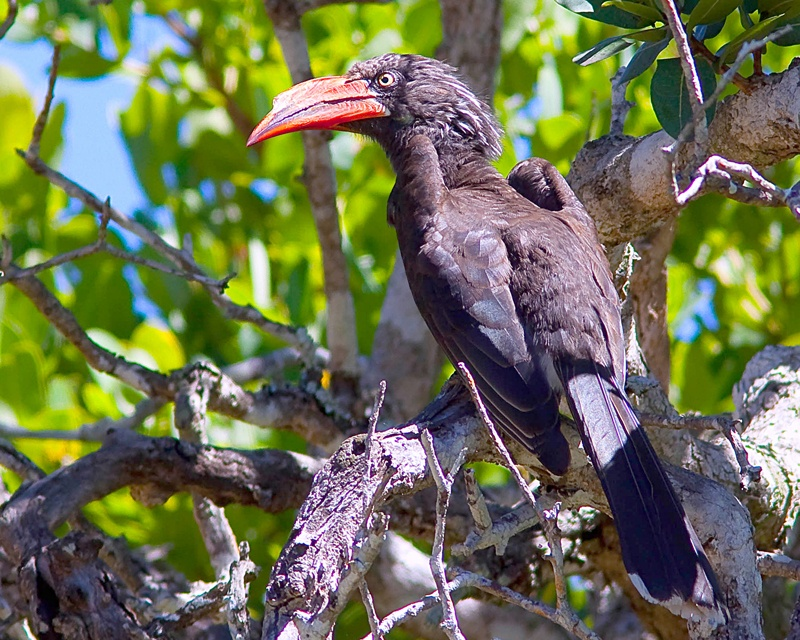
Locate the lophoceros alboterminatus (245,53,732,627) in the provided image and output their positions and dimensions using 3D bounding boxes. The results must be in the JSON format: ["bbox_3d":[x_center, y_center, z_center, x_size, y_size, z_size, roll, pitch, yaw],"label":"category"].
[{"bbox_3d":[0.393,-0.151,5.049,0.710,2.739,1.320,-4,-65,-36],"label":"lophoceros alboterminatus"}]
